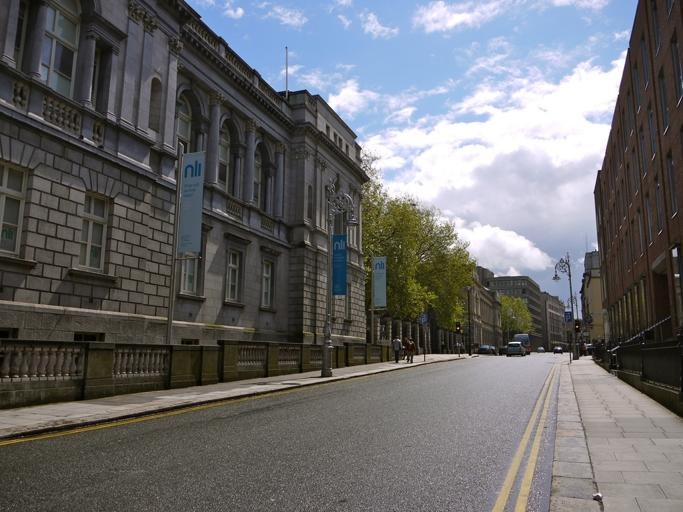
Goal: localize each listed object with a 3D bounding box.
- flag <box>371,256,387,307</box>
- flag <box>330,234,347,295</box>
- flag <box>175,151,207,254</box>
[{"bbox_3d":[2.932,2.089,43.611,1.149,4.881,0.101,0,-38,2],"label":"flag"},{"bbox_3d":[-0.175,0.625,36.224,1.032,0.082,5.549,-2,-47,-4],"label":"flag"},{"bbox_3d":[-6.264,-2.230,23.330,1.046,4.216,0.454,-2,-12,3],"label":"flag"}]
